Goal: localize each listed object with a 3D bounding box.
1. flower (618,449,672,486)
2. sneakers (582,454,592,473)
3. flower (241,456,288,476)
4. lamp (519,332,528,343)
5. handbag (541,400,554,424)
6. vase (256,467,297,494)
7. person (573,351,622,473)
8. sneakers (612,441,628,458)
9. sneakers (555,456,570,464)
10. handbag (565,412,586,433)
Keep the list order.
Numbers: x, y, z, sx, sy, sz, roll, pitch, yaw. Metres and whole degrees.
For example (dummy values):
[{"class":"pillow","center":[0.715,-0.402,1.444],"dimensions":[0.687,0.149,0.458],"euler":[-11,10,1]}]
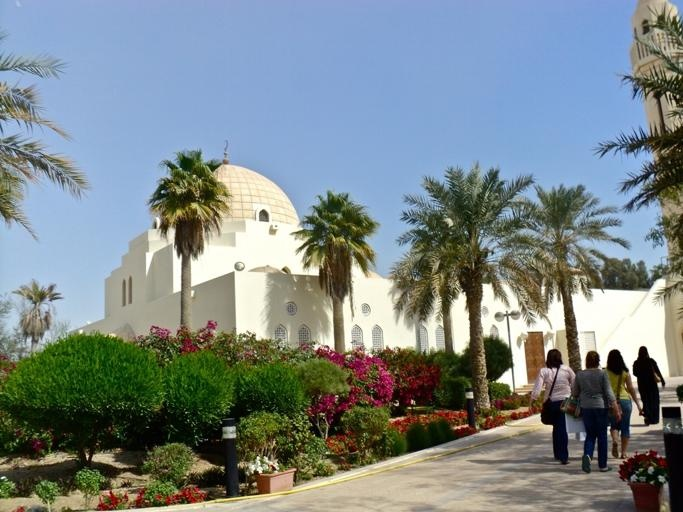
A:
[{"class":"flower","center":[3.885,2.716,7.202],"dimensions":[0.485,0.529,0.572],"euler":[-6,-17,30]},{"class":"sneakers","center":[3.977,3.359,9.084],"dimensions":[0.098,0.321,0.122],"euler":[-7,-10,26]},{"class":"flower","center":[-1.447,3.914,10.455],"dimensions":[0.430,0.241,0.451],"euler":[4,-6,-36]},{"class":"lamp","center":[10.763,4.741,33.125],"dimensions":[0.194,0.594,1.006],"euler":[-15,-21,34]},{"class":"handbag","center":[3.697,2.793,10.060],"dimensions":[0.231,0.402,0.226],"euler":[-10,-18,20]},{"class":"vase","center":[-1.201,4.088,10.201],"dimensions":[0.681,0.377,0.473],"euler":[-1,-18,-12]},{"class":"person","center":[4.273,2.564,9.417],"dimensions":[0.711,1.949,0.676],"euler":[-11,-18,26]},{"class":"sneakers","center":[5.056,3.509,10.178],"dimensions":[0.125,0.449,0.273],"euler":[-3,5,5]},{"class":"sneakers","center":[3.936,3.642,9.993],"dimensions":[0.225,0.105,0.343],"euler":[-11,-20,18]},{"class":"handbag","center":[4.096,2.937,9.830],"dimensions":[0.308,0.459,0.333],"euler":[1,-10,-21]}]
